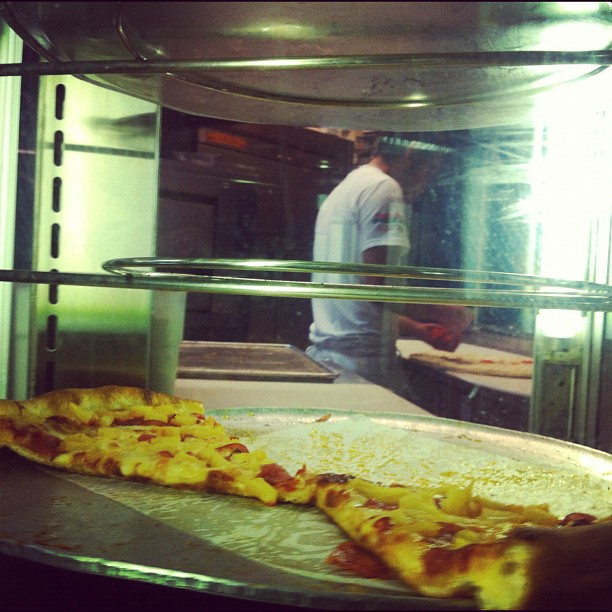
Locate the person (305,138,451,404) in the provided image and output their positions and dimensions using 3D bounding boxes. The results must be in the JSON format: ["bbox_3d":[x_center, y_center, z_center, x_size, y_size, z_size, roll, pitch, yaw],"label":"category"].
[{"bbox_3d":[0.162,-0.097,1.901,0.259,0.680,0.493,-2,11,-42],"label":"person"}]

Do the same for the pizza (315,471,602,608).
[{"bbox_3d":[0.126,0.184,0.591,0.262,0.039,0.206,3,6,6],"label":"pizza"}]

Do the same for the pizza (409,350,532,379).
[{"bbox_3d":[0.415,0.140,1.811,0.328,0.067,0.047,7,7,35],"label":"pizza"}]
